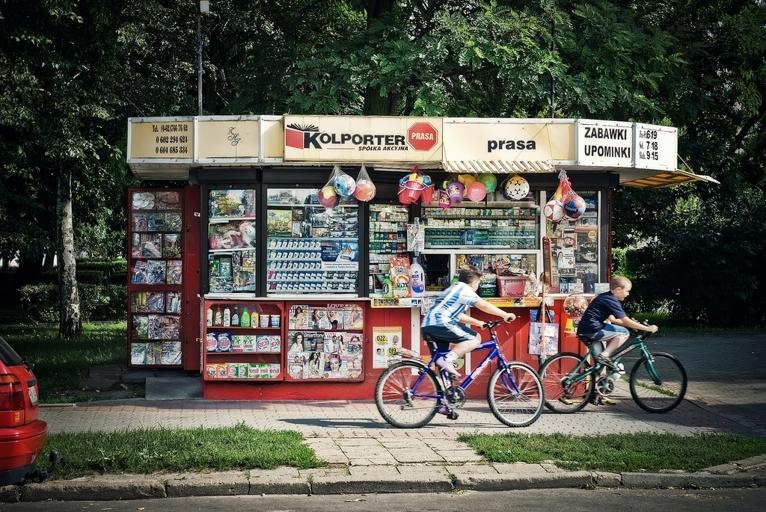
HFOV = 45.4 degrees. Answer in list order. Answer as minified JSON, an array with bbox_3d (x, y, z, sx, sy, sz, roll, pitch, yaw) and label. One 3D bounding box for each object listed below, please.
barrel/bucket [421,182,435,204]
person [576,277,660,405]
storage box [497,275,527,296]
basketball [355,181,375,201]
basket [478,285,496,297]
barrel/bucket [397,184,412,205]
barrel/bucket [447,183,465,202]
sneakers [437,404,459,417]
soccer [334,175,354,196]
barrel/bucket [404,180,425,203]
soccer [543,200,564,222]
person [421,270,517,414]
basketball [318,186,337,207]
[{"bbox_3d":[0.848,-1.233,17.808,0.213,0.364,0.336,2,-14,1],"label":"barrel/bucket"},{"bbox_3d":[4.424,1.369,17.134,1.392,2.216,0.928,7,20,34],"label":"person"},{"bbox_3d":[2.479,0.593,17.926,0.343,0.282,0.460,1,2,-1],"label":"storage box"},{"bbox_3d":[-0.417,-1.235,17.665,0.366,0.508,0.362,-1,-5,-32],"label":"basketball"},{"bbox_3d":[2.033,0.684,18.039,0.256,0.198,0.259,1,-9,0],"label":"basket"},{"bbox_3d":[0.398,-1.186,17.656,0.279,0.499,0.344,0,-4,3],"label":"barrel/bucket"},{"bbox_3d":[1.391,-1.242,17.949,0.271,0.377,0.285,3,-2,0],"label":"barrel/bucket"},{"bbox_3d":[1.125,2.728,16.031,0.320,0.163,0.194,26,1,-7],"label":"sneakers"},{"bbox_3d":[-0.740,-1.352,17.440,0.371,0.447,0.381,-6,-4,36],"label":"soccer"},{"bbox_3d":[0.577,-1.265,17.593,0.357,0.345,0.354,1,-2,0],"label":"barrel/bucket"},{"bbox_3d":[3.294,-0.870,17.842,0.367,0.397,0.385,0,15,-16],"label":"soccer"},{"bbox_3d":[1.329,1.177,16.056,1.313,1.841,0.691,0,12,-1],"label":"person"},{"bbox_3d":[-1.099,-1.177,17.684,0.341,0.415,0.353,7,19,27],"label":"basketball"}]
